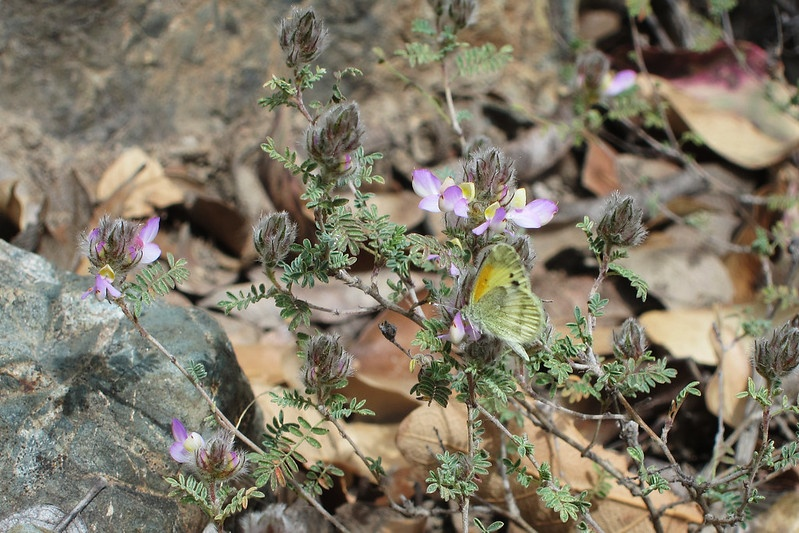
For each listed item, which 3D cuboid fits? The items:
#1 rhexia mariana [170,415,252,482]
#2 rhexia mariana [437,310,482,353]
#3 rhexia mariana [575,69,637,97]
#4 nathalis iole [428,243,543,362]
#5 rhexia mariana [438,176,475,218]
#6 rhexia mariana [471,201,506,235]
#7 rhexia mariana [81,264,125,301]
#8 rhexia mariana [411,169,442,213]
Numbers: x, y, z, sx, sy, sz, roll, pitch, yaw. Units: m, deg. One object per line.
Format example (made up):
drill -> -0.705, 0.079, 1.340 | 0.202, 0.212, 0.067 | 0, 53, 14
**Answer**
rhexia mariana -> -0.610, 0.567, 3.396 | 0.210, 0.195, 0.146 | 21, 99, -12
rhexia mariana -> 0.184, 0.205, 3.249 | 0.106, 0.119, 0.082 | -9, 44, 25
rhexia mariana -> 0.808, -0.727, 4.155 | 0.304, 0.086, 0.125 | -1, 97, 7
nathalis iole -> 0.269, 0.115, 3.231 | 0.289, 0.276, 0.327 | 3, 81, -5
rhexia mariana -> 0.179, -0.208, 3.285 | 0.107, 0.091, 0.094 | 4, 55, 3
rhexia mariana -> 0.283, -0.149, 3.320 | 0.109, 0.032, 0.073 | -42, 76, 4
rhexia mariana -> -0.922, 0.039, 3.324 | 0.129, 0.135, 0.055 | 30, 111, 0
rhexia mariana -> 0.087, -0.246, 3.320 | 0.090, 0.085, 0.131 | 2, 55, 2
